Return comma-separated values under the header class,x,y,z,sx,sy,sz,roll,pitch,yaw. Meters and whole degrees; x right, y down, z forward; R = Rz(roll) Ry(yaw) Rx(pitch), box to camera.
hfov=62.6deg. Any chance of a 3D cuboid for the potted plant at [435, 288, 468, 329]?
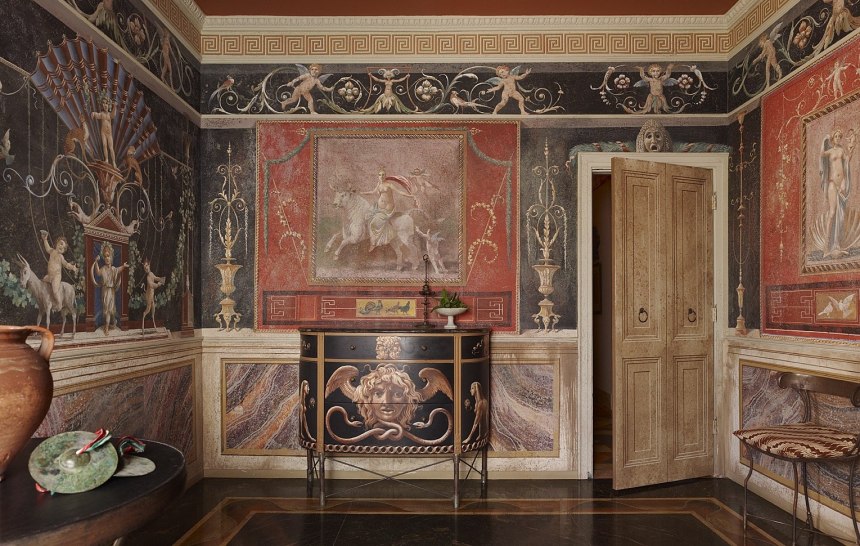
class,x,y,z,sx,sy,sz,roll,pitch,yaw
potted plant,0.226,0.380,7.339,0.373,0.358,0.367,2,6,4
